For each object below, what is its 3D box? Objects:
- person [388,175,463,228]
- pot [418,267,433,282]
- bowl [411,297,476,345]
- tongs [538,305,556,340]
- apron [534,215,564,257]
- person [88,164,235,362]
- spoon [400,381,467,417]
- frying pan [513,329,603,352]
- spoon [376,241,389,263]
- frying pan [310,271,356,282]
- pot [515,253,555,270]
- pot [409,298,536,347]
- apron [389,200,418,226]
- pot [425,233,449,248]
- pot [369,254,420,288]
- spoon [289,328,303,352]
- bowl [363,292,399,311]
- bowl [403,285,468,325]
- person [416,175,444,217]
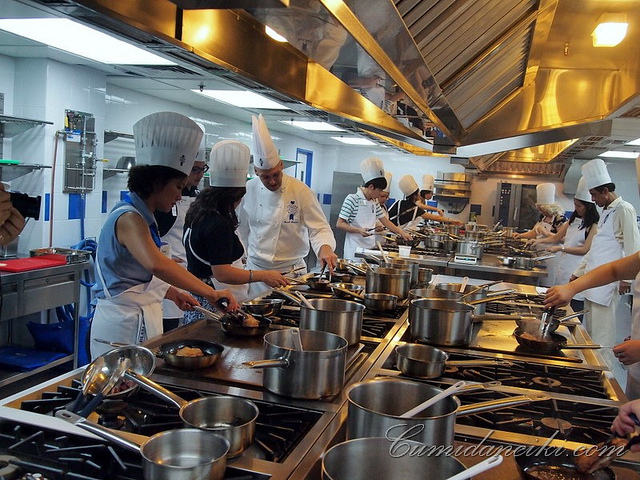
[{"bbox_3d":[1.678,-0.532,7.335,0.646,0.967,1.295,-15,22,-17],"label":"person"},{"bbox_3d":[0.680,0.225,2.926,0.100,0.056,0.095,1,6,0],"label":"pot"},{"bbox_3d":[0.483,0.357,1.904,0.278,0.148,0.262,7,-6,1],"label":"bowl"},{"bbox_3d":[0.963,0.363,1.952,0.051,0.167,0.021,11,-25,29],"label":"tongs"},{"bbox_3d":[3.077,-0.038,6.101,0.449,0.700,0.592,-3,-9,25],"label":"apron"},{"bbox_3d":[-0.736,0.102,2.014,0.449,0.853,0.562,0,-1,-32],"label":"person"},{"bbox_3d":[0.265,0.384,1.080,0.182,0.015,0.021,-36,-9,20],"label":"spoon"},{"bbox_3d":[0.930,0.410,1.825,0.229,0.029,0.133,3,0,21],"label":"frying pan"},{"bbox_3d":[0.540,0.110,3.973,0.022,0.187,0.022,-11,20,47],"label":"spoon"},{"bbox_3d":[0.112,0.214,2.647,0.159,0.023,0.107,-1,5,0],"label":"frying pan"},{"bbox_3d":[1.949,0.213,4.159,0.381,0.133,0.137,0,0,1],"label":"pot"},{"bbox_3d":[0.604,0.303,1.844,0.424,0.128,0.229,2,-1,9],"label":"pot"},{"bbox_3d":[1.382,-0.412,7.455,0.521,0.376,0.066,4,2,27],"label":"apron"},{"bbox_3d":[1.342,0.012,5.234,0.233,0.117,0.212,1,4,0],"label":"pot"},{"bbox_3d":[0.463,0.210,2.870,0.307,0.113,0.175,1,2,28],"label":"pot"},{"bbox_3d":[-0.078,0.316,1.453,0.037,0.062,0.064,0,-1,-8],"label":"spoon"},{"bbox_3d":[0.305,0.307,2.264,0.151,0.076,0.162,0,-1,0],"label":"bowl"},{"bbox_3d":[0.549,0.288,2.169,0.225,0.118,0.216,0,3,0],"label":"bowl"},{"bbox_3d":[2.079,-0.865,8.723,0.418,0.761,0.350,-7,8,-10],"label":"person"}]
